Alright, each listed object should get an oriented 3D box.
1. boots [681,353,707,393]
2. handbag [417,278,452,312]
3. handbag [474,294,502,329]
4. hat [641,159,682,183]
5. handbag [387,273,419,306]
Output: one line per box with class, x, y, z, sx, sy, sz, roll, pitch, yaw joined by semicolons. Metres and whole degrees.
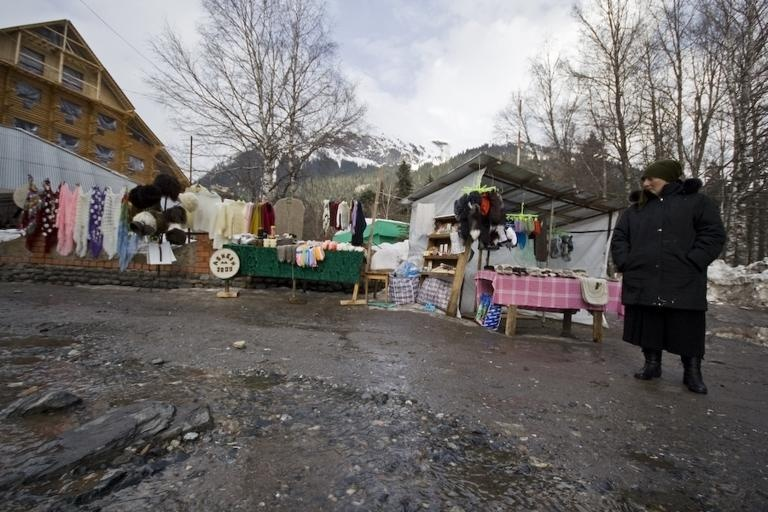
boots;4.474;1.656;6.309;0.234;0.530;0.695;-7;2;22
handbag;1.317;0.985;11.060;0.777;0.726;0.191;15;-5;43
handbag;2.333;1.193;9.915;0.307;0.713;0.837;6;5;5
hat;4.210;-1.242;6.640;0.460;0.312;0.354;3;6;24
handbag;0.507;0.886;11.713;0.730;0.734;0.735;4;-7;-25
